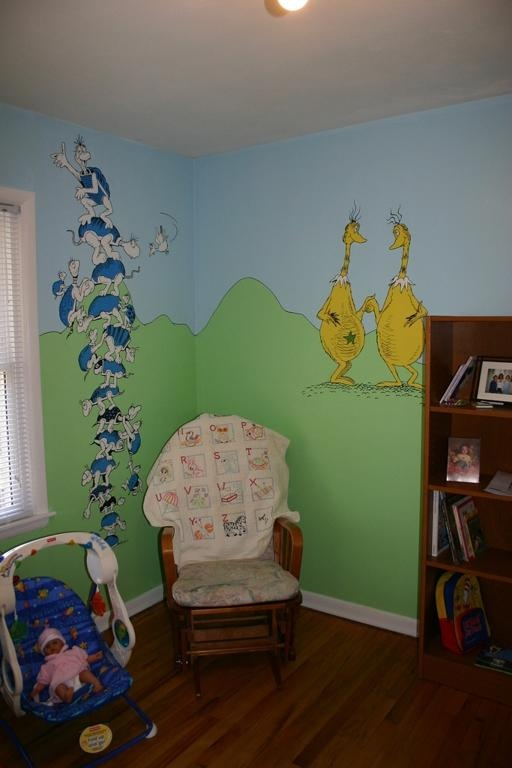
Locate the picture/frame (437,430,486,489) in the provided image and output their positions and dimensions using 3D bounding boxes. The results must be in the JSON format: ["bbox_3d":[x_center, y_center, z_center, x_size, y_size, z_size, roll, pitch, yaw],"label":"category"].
[{"bbox_3d":[0.839,0.313,2.305,0.209,0.310,0.030,2,5,35],"label":"picture/frame"}]

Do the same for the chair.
[{"bbox_3d":[-0.096,0.958,2.530,0.470,0.618,0.705,-1,-4,-3],"label":"chair"}]

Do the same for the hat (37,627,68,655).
[{"bbox_3d":[-0.739,0.936,2.049,0.068,0.084,0.089,-37,-11,-14],"label":"hat"}]
